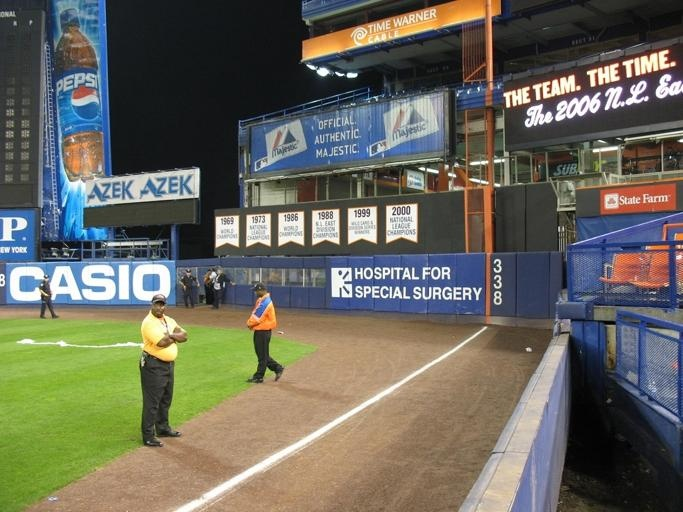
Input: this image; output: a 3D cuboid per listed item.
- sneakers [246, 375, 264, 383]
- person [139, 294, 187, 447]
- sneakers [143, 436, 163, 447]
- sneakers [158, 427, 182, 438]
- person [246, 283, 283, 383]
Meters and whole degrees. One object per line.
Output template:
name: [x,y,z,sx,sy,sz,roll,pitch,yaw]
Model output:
sneakers: [-2.184,3.132,16.820,0.448,0.231,0.162,3,-2,17]
person: [-3.677,2.256,13.277,0.860,2.901,0.952,-1,8,-9]
sneakers: [-3.753,3.710,13.132,0.401,0.210,0.164,-2,-6,10]
sneakers: [-3.511,3.606,13.486,0.497,0.226,0.191,2,1,-8]
person: [-1.970,1.975,16.801,0.838,2.585,0.814,0,8,1]
